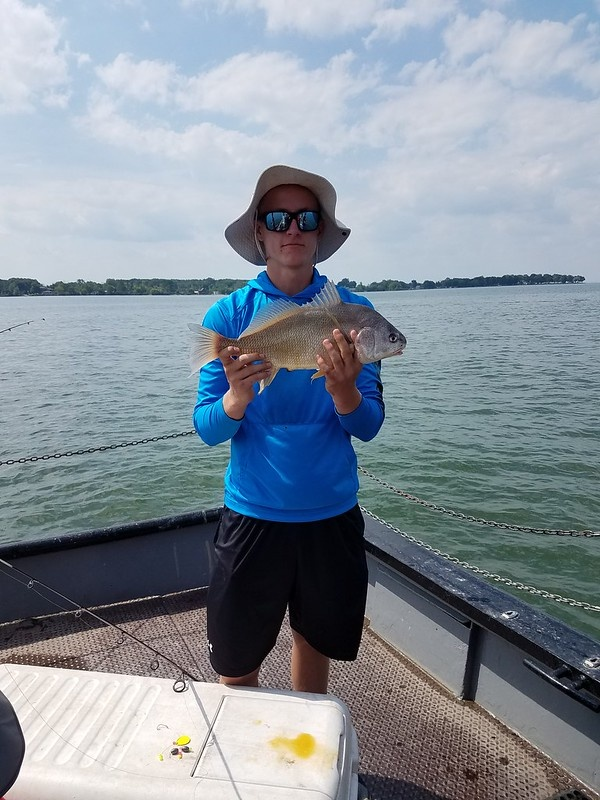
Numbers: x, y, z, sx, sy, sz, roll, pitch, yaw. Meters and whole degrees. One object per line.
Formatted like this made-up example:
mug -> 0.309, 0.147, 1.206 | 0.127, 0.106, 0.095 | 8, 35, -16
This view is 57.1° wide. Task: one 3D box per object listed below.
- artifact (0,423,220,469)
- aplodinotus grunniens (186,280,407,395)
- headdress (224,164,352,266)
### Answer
artifact -> -3.877, 0.940, 11.109 | 6.149, 0.174, 0.389 | -7, -22, 5
aplodinotus grunniens -> -0.003, -0.292, 2.469 | 0.962, 0.452, 0.293 | -3, 6, -5
headdress -> -0.042, -0.874, 2.692 | 0.556, 0.230, 0.650 | -3, -28, 1
